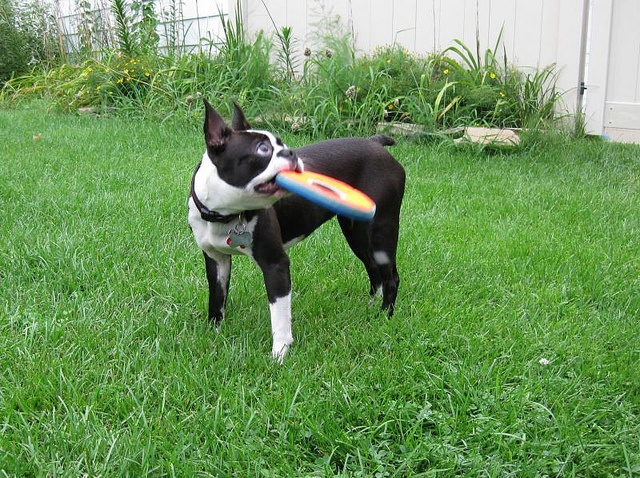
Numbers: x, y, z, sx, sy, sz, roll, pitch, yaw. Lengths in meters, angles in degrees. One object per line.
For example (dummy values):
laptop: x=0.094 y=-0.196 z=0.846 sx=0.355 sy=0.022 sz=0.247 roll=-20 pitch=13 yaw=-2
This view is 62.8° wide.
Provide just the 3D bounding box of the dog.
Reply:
dog: x=-0.114 y=-0.121 z=3.040 sx=1.222 sy=1.323 sz=0.628 roll=-14 pitch=20 yaw=-40

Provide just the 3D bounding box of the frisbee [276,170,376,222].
frisbee: x=0.028 y=-0.222 z=2.602 sx=0.514 sy=0.245 sz=0.289 roll=-9 pitch=18 yaw=-28
